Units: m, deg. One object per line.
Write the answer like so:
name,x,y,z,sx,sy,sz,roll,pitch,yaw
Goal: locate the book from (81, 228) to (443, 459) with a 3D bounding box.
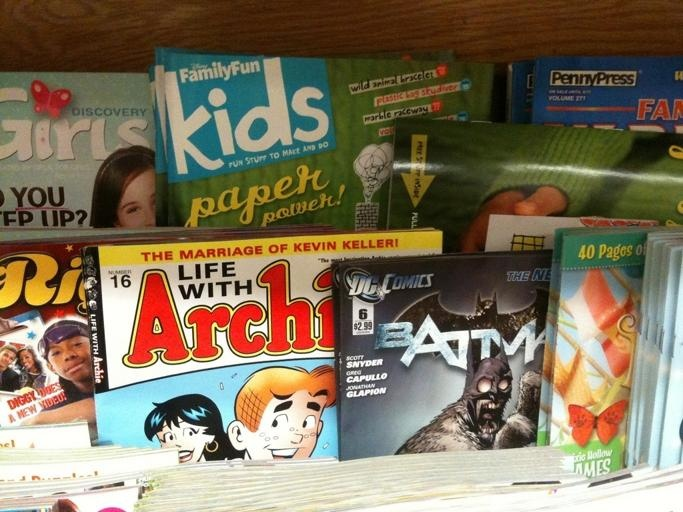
book,-0.149,0.149,1.108,0.484,0.337,0.049,-1,8,-5
